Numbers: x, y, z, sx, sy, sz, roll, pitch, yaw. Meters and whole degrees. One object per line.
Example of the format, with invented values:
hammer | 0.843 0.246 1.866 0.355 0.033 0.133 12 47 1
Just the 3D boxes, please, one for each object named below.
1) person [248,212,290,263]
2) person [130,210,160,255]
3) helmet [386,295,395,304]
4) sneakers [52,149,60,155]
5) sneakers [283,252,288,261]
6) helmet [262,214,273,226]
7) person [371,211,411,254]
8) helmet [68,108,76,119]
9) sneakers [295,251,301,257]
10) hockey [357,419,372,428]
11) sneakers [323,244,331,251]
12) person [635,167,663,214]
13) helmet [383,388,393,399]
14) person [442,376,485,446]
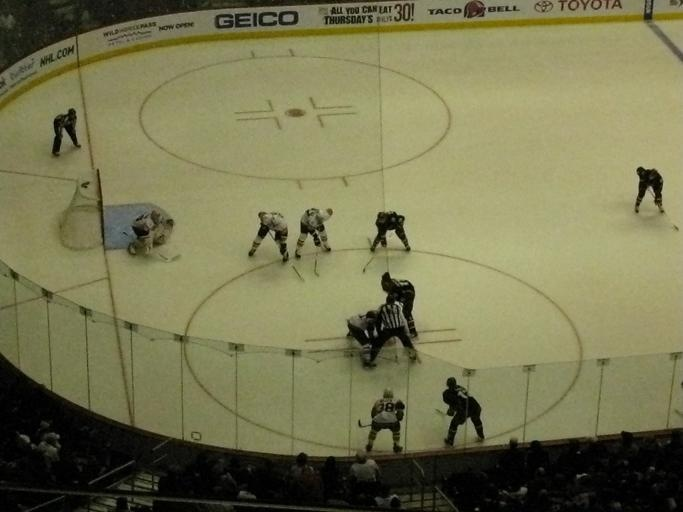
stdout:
person | -1.314 -0.413 21.952 0.841 0.893 0.611 10 27 -15
person | -3.969 -0.458 22.153 0.661 0.375 0.845 9 39 9
helmet | 0.863 0.759 19.292 0.146 0.124 0.139 1 2 -9
sneakers | -6.492 -2.323 25.216 0.176 0.055 0.114 -2 -18 -17
sneakers | -1.092 0.024 21.992 0.073 0.183 0.103 -1 -8 16
helmet | -1.431 -0.707 21.585 0.285 0.249 0.233 0 9 -4
person | 0.996 -0.485 22.239 0.820 0.819 1.067 1 8 4
helmet | -6.156 -3.211 25.305 0.242 0.287 0.111 -2 -11 -12
sneakers | -0.856 -0.032 22.138 0.063 0.114 0.079 29 59 19
hockey | 0.366 2.653 17.628 0.165 0.037 0.147 -3 14 -14
sneakers | -0.306 -0.158 22.295 0.167 0.076 0.156 26 -12 15
person | 6.630 -1.400 23.758 0.614 0.977 1.008 3 9 14
helmet | 0.753 2.171 17.615 0.125 0.133 0.147 4 50 3
person | 1.940 2.496 17.862 0.715 1.030 0.665 -7 8 -21
